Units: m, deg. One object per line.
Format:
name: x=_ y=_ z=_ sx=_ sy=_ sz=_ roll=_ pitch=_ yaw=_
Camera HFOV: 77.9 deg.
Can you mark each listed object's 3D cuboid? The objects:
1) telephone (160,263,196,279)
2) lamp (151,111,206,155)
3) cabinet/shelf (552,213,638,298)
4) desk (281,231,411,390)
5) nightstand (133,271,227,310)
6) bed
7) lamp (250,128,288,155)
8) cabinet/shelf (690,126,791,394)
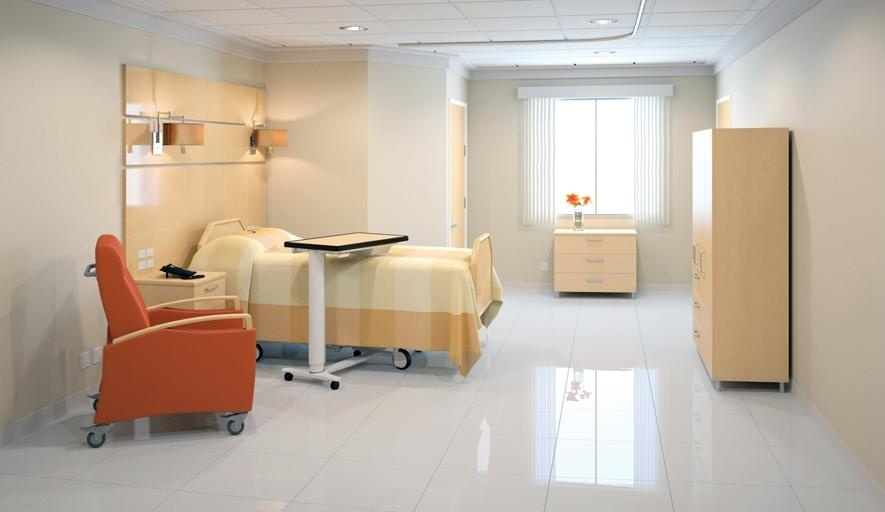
telephone: x=-2.932 y=0.173 z=6.084 sx=0.329 sy=0.091 sz=0.211 roll=14 pitch=15 yaw=9
lamp: x=-3.088 y=-1.431 z=6.374 sx=0.642 sy=0.480 sz=0.430 roll=0 pitch=4 yaw=-13
cabinet/shelf: x=2.671 y=-0.013 z=9.590 sx=1.434 sy=1.224 sz=0.785 roll=0 pitch=13 yaw=13
desk: x=-1.086 y=0.638 z=6.237 sx=0.799 sy=1.527 sz=1.703 roll=2 pitch=5 yaw=19
nightstand: x=-2.887 y=0.375 z=6.070 sx=0.568 sy=0.318 sz=0.552 roll=2 pitch=3 yaw=15
bed: x=-1.007 y=0.383 z=6.795 sx=3.008 sy=1.316 sz=1.841 roll=1 pitch=8 yaw=9
lamp: x=-2.483 y=-1.672 z=7.915 sx=0.400 sy=0.226 sz=0.386 roll=2 pitch=9 yaw=5
cabinet/shelf: x=3.432 y=-0.045 z=6.417 sx=0.971 sy=2.671 sz=1.660 roll=-1 pitch=4 yaw=21
